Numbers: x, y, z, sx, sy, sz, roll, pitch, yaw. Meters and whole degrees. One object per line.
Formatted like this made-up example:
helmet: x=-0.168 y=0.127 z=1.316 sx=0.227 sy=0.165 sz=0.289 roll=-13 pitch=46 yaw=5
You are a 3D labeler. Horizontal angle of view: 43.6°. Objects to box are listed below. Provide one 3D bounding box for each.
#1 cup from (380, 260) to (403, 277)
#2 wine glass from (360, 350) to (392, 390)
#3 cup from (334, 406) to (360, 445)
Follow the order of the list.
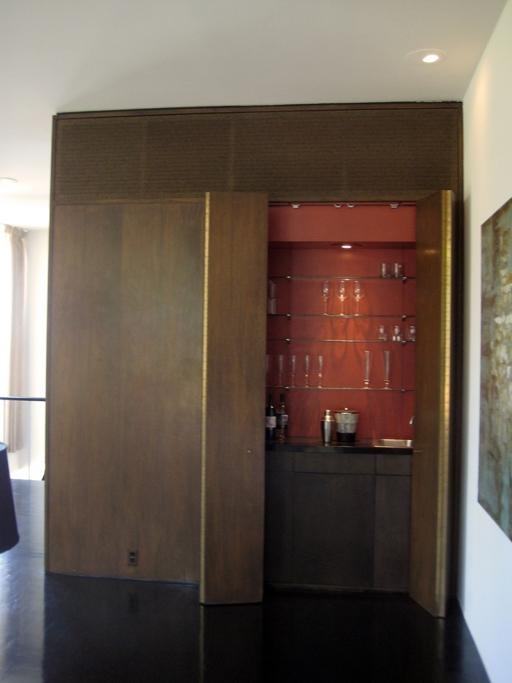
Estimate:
cup: x=0.852 y=-0.444 z=4.006 sx=0.089 sy=0.088 sz=0.090 roll=0 pitch=5 yaw=0
wine glass: x=0.781 y=0.190 z=4.112 sx=0.175 sy=0.288 sz=0.080 roll=1 pitch=-5 yaw=-4
cup: x=0.557 y=0.519 z=3.904 sx=0.139 sy=0.221 sz=0.173 roll=-1 pitch=-2 yaw=11
